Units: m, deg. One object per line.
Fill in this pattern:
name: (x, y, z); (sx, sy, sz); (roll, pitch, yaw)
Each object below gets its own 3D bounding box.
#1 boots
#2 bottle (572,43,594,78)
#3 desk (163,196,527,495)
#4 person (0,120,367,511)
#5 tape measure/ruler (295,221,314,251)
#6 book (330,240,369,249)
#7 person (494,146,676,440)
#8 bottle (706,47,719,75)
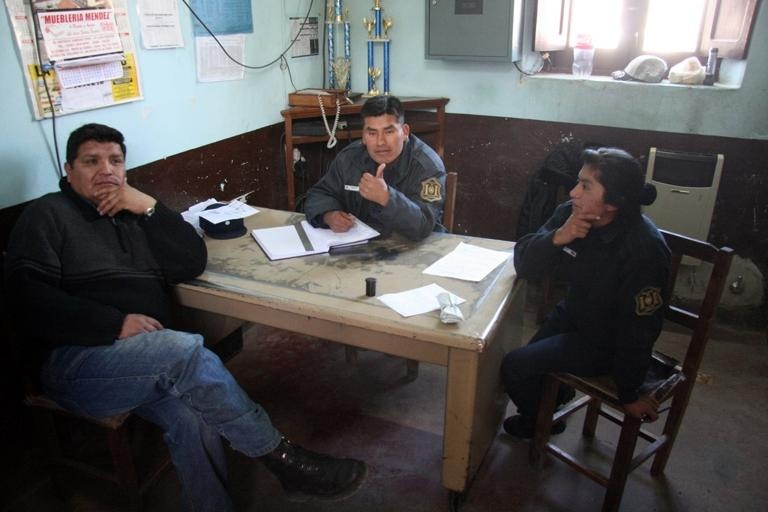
boots: (-0.317, 0.993, 2.484); (0.378, 0.349, 0.167); (-15, 34, 13)
bottle: (1.487, -1.462, 3.997); (0.135, 0.242, 0.125); (-2, 24, 1)
desk: (-0.390, 0.422, 3.096); (2.146, 1.003, 1.291); (10, 22, 18)
person: (-0.990, 0.290, 2.322); (1.242, 1.553, 0.739); (14, 29, 33)
tape measure/ruler: (-0.421, -0.102, 2.829); (0.032, 0.009, 0.219); (-24, 42, -9)
book: (-0.181, -0.056, 2.769); (0.093, 0.020, 0.084); (-11, 17, -28)
person: (0.948, 0.271, 2.539); (0.707, 1.473, 0.596); (8, 26, 23)
bottle: (2.273, -1.345, 3.700); (0.063, 0.174, 0.199); (11, 27, 28)
